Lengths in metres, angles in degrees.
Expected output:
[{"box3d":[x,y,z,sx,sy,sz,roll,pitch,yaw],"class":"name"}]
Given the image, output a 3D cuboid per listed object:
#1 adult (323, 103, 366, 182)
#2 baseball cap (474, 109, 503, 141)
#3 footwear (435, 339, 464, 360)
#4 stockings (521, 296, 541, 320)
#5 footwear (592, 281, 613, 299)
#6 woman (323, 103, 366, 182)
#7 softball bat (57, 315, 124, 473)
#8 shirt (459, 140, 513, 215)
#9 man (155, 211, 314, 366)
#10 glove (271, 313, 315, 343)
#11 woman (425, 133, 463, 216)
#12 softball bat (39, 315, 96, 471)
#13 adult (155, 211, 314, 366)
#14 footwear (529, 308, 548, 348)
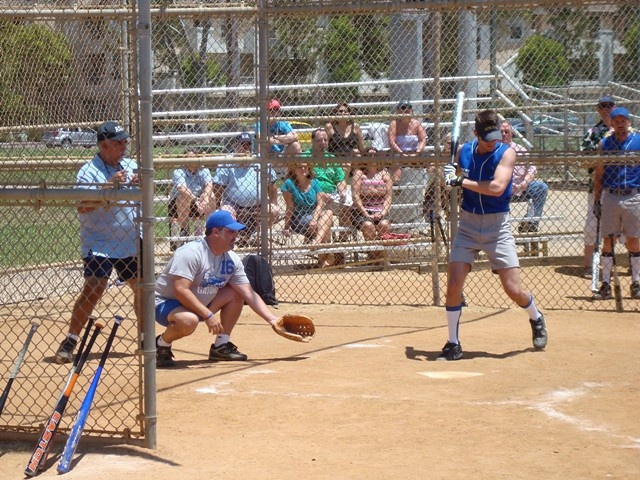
[{"box3d":[0.332,-1.236,12.886,0.578,1.137,0.608,-3,3,-8],"class":"adult"},{"box3d":[1.652,-1.108,9.736,0.219,0.312,0.183,-18,-27,3],"class":"baseball cap"},{"box3d":[1.287,1.113,9.894,0.120,0.149,0.329,-1,-1,38],"class":"footwear"},{"box3d":[2.230,0.732,10.520,0.108,0.240,0.245,-34,32,19],"class":"stockings"},{"box3d":[3.475,0.635,12.135,0.329,0.232,0.115,-7,-8,26],"class":"footwear"},{"box3d":[0.321,-1.219,12.880,0.576,1.122,0.616,-3,4,-3],"class":"woman"},{"box3d":[-1.992,1.363,8.560,0.130,0.131,1.362,13,34,-1],"class":"softball bat"},{"box3d":[1.645,-0.633,9.957,0.563,0.714,0.401,5,14,18],"class":"shirt"},{"box3d":[-0.854,0.505,9.785,1.715,1.469,1.108,3,2,-4],"class":"man"},{"box3d":[-0.258,0.889,9.874,0.359,0.255,0.141,14,-32,2],"class":"glove"},{"box3d":[1.451,-0.729,11.602,0.263,1.556,0.280,-31,-58,30],"class":"woman"},{"box3d":[-2.192,1.359,8.597,0.092,1.260,0.130,17,-25,1],"class":"softball bat"},{"box3d":[-0.865,0.488,9.783,1.701,1.496,1.047,3,2,1],"class":"adult"},{"box3d":[2.228,0.908,10.175,0.134,0.415,0.187,-12,-32,32],"class":"footwear"}]
